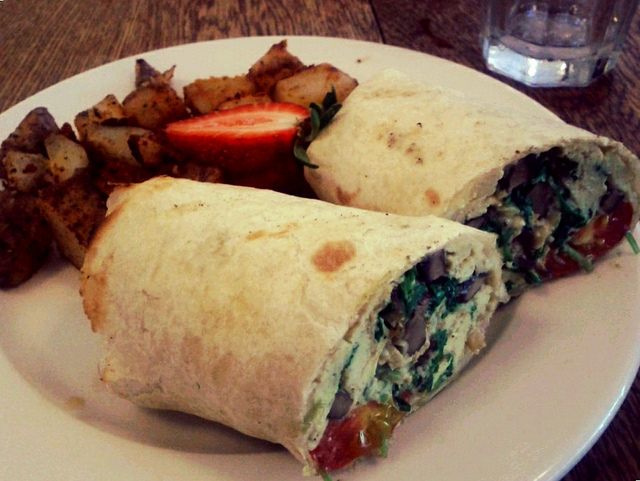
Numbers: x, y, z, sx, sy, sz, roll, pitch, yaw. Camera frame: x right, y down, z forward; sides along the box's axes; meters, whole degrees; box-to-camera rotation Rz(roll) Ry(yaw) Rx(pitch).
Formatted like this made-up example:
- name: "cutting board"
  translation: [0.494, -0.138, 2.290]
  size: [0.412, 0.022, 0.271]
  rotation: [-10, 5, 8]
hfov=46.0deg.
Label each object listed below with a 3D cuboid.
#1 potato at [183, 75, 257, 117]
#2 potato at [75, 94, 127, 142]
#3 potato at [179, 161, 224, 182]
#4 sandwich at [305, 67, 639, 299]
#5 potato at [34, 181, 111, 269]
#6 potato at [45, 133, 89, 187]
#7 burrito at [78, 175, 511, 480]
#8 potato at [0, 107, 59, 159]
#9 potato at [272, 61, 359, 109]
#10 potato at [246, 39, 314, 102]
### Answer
- name: "potato"
  translation: [-0.297, -0.441, 2.217]
  size: [0.169, 0.054, 0.125]
  rotation: [-25, 40, -10]
- name: "potato"
  translation: [-0.617, -0.358, 2.178]
  size: [0.130, 0.087, 0.131]
  rotation: [-16, 27, 19]
- name: "potato"
  translation: [-0.319, -0.188, 2.031]
  size: [0.069, 0.024, 0.069]
  rotation: [13, 27, -9]
- name: "sandwich"
  translation: [0.373, -0.099, 2.049]
  size: [0.779, 0.316, 0.491]
  rotation: [34, 54, 29]
- name: "potato"
  translation: [-0.634, -0.053, 1.943]
  size: [0.135, 0.133, 0.140]
  rotation: [32, 49, 26]
- name: "potato"
  translation: [-0.697, -0.241, 2.055]
  size: [0.108, 0.054, 0.167]
  rotation: [-24, 61, -9]
- name: "burrito"
  translation: [-0.062, 0.145, 1.662]
  size: [0.829, 0.347, 0.612]
  rotation: [15, 38, 23]
- name: "potato"
  translation: [-0.796, -0.298, 2.102]
  size: [0.145, 0.040, 0.143]
  rotation: [-42, 23, 7]
- name: "potato"
  translation: [-0.051, -0.490, 2.270]
  size: [0.164, 0.055, 0.167]
  rotation: [19, 11, -18]
- name: "potato"
  translation: [-0.120, -0.520, 2.265]
  size: [0.186, 0.066, 0.190]
  rotation: [-30, 71, -15]
